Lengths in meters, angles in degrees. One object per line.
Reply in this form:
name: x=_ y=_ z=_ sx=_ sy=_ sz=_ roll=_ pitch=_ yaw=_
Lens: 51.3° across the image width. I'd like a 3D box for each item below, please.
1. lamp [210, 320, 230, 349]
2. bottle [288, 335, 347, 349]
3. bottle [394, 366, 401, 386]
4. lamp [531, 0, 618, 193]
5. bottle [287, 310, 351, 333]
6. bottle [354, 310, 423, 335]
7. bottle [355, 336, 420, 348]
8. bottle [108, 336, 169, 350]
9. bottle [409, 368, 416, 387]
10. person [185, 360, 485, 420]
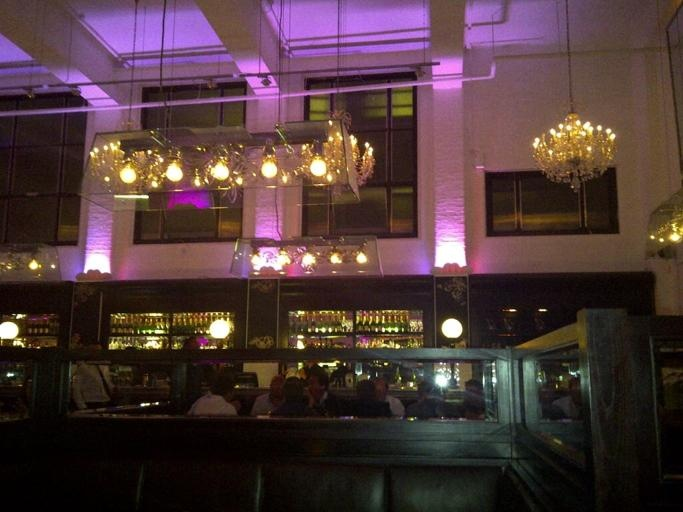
lamp: x=-1.894 y=1.204 z=11.137 sx=0.361 sy=0.422 sz=0.197 roll=-2 pitch=10 yaw=0
bottle: x=-0.327 y=1.320 z=10.903 sx=0.979 sy=0.156 sz=0.348 roll=-2 pitch=10 yaw=-2
bottle: x=0.399 y=0.836 z=4.984 sx=0.038 sy=0.117 sz=0.052 roll=-1 pitch=10 yaw=5
lamp: x=3.180 y=-2.205 z=9.825 sx=1.221 sy=2.781 sz=2.719 roll=2 pitch=10 yaw=21
bottle: x=-0.310 y=1.032 z=11.061 sx=0.991 sy=0.338 sz=0.134 roll=0 pitch=10 yaw=6
bottle: x=0.725 y=1.022 z=10.905 sx=1.022 sy=0.338 sz=0.135 roll=0 pitch=10 yaw=11
bottle: x=0.731 y=1.294 z=10.828 sx=1.020 sy=0.162 sz=0.206 roll=0 pitch=10 yaw=5
bottle: x=-3.206 y=1.352 z=11.237 sx=0.940 sy=0.170 sz=0.216 roll=-2 pitch=10 yaw=-4
bottle: x=0.505 y=0.859 z=4.985 sx=0.043 sy=0.131 sz=0.026 roll=-1 pitch=10 yaw=6
person: x=0.392 y=0.940 z=5.012 sx=1.233 sy=0.395 sz=0.100 roll=0 pitch=10 yaw=6
